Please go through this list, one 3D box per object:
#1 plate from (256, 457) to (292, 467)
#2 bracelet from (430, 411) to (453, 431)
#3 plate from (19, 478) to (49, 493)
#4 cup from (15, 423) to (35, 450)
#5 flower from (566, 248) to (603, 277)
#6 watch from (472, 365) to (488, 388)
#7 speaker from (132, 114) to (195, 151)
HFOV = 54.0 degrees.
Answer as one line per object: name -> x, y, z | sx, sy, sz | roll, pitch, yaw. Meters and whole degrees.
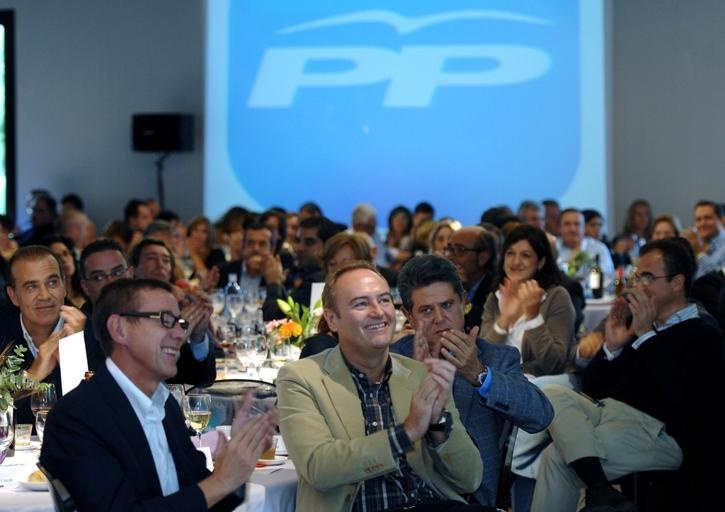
plate -> -0.392, 0.897, 3.112 | 0.090, 0.018, 0.083 | 0, -2, 1
bracelet -> 0.319, 0.669, 2.900 | 0.059, 0.053, 0.086 | -5, -2, 5
plate -> -1.284, 0.895, 2.788 | 0.081, 0.024, 0.084 | -1, -8, 6
cup -> -1.546, 0.826, 3.257 | 0.092, 0.109, 0.094 | 0, -4, 0
flower -> 2.240, 0.077, 7.205 | 0.467, 0.164, 0.146 | -20, -7, -26
watch -> 0.528, 0.521, 3.111 | 0.050, 0.082, 0.056 | 25, -8, -30
speaker -> -2.000, -1.219, 7.023 | 0.323, 0.446, 0.831 | 1, 2, 20
